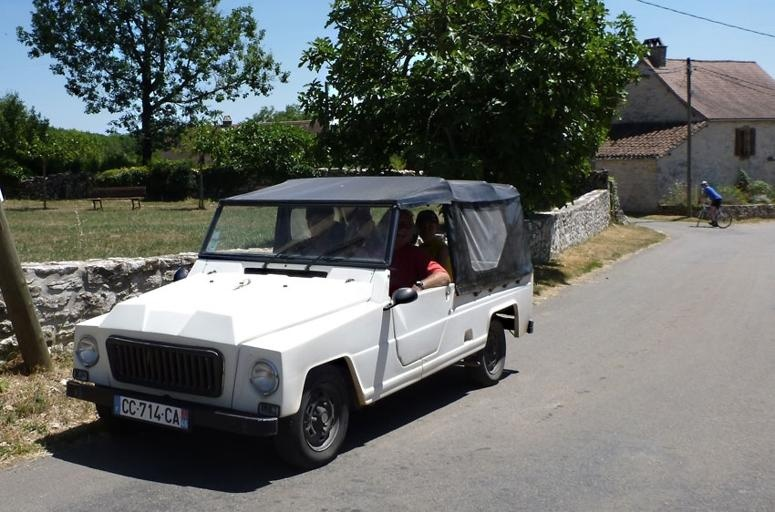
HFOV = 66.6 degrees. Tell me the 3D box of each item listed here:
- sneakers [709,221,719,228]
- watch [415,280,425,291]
[{"bbox_3d":[16.287,-1.613,29.506,0.350,0.270,0.283,-4,-4,30],"label":"sneakers"},{"bbox_3d":[0.374,0.336,6.795,0.098,0.077,0.095,39,-33,-21],"label":"watch"}]
